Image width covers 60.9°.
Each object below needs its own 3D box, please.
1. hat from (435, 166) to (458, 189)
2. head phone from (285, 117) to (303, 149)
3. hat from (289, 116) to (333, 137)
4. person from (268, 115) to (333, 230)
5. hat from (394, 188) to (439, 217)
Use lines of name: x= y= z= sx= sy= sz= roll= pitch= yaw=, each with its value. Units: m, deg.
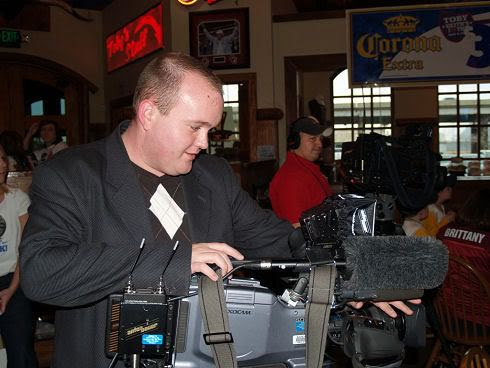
hat: x=1.312 y=-0.038 z=2.694 sx=0.162 sy=0.151 sz=0.123 roll=5 pitch=1 yaw=10
head phone: x=0.440 y=-0.434 z=3.591 sx=0.104 sy=0.266 sz=0.276 roll=-1 pitch=2 yaw=24
hat: x=0.534 y=-0.485 z=3.526 sx=0.275 sy=0.109 sz=0.181 roll=6 pitch=-1 yaw=35
person: x=0.459 y=-0.063 z=3.423 sx=0.454 sy=0.932 sz=0.942 roll=-2 pitch=8 yaw=18
hat: x=1.097 y=0.068 z=2.732 sx=0.256 sy=0.088 sz=0.366 roll=12 pitch=33 yaw=12
